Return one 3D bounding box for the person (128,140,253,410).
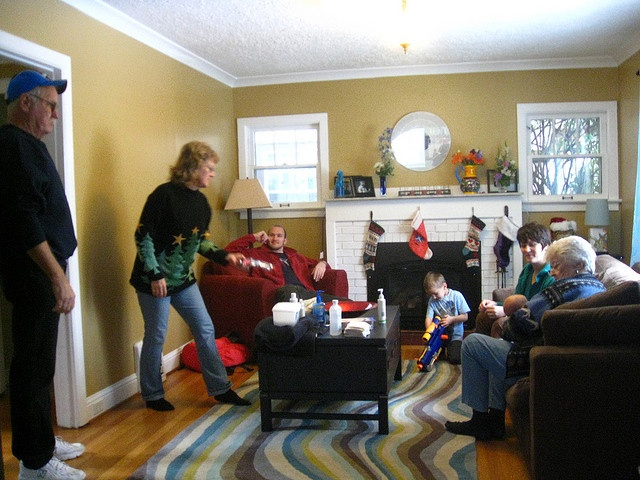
[{"bbox_3d":[-0.939,0.267,3.590,0.656,1.839,0.355,-6,10,-20],"label":"person"}]

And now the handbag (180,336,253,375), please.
[{"bbox_3d":[-0.800,0.915,4.181,0.404,0.190,0.523,2,2,0],"label":"handbag"}]

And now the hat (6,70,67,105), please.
[{"bbox_3d":[-1.526,-0.822,2.864,0.311,0.160,0.195,-27,23,-19],"label":"hat"}]

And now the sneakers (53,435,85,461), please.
[{"bbox_3d":[-1.480,1.240,3.169,0.230,0.115,0.087,3,7,-18],"label":"sneakers"}]

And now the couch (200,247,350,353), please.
[{"bbox_3d":[-0.475,0.492,4.854,0.858,0.889,1.242,0,2,24],"label":"couch"}]

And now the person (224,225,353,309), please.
[{"bbox_3d":[-0.322,0.230,4.886,0.682,0.522,0.917,5,-8,-41],"label":"person"}]

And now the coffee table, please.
[{"bbox_3d":[0.008,0.782,3.231,0.634,0.454,1.005,-1,1,6],"label":"coffee table"}]

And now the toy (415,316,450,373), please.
[{"bbox_3d":[0.933,0.842,4.356,0.277,0.478,0.190,12,-27,19],"label":"toy"}]

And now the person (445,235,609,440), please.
[{"bbox_3d":[1.222,0.587,3.092,0.775,1.221,0.473,7,0,28],"label":"person"}]
